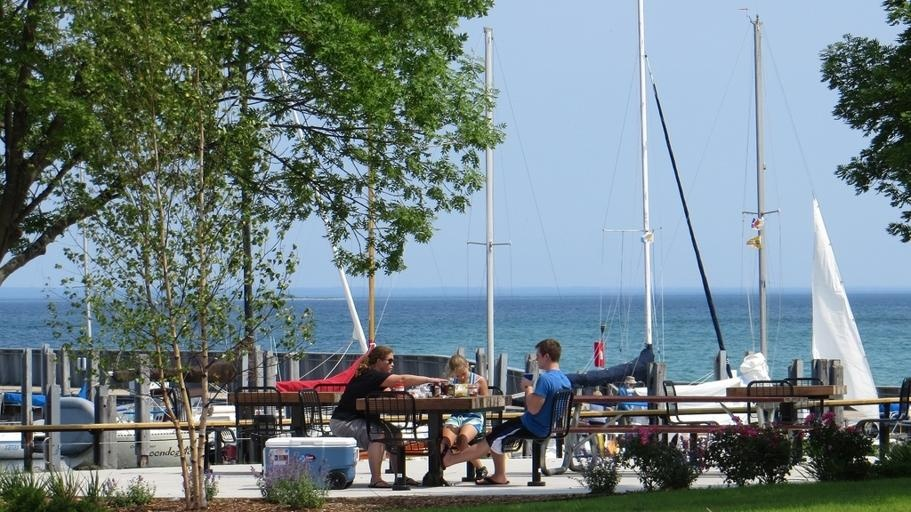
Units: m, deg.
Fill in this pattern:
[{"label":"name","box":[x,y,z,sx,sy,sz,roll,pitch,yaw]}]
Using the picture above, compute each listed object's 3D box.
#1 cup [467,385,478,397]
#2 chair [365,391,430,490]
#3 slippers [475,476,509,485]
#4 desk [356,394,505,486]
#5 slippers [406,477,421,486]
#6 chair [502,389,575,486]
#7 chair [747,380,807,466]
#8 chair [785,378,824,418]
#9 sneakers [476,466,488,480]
[{"label":"cup","box":[0.410,3.014,41.490,0.220,0.216,0.210,1,-3,0]},{"label":"chair","box":[-1.353,4.059,40.815,1.261,2.128,0.975,-5,-10,8]},{"label":"slippers","box":[0.830,4.966,40.998,0.645,0.137,0.241,2,-4,-2]},{"label":"desk","box":[-0.442,3.989,41.477,2.573,1.718,2.314,-1,-9,6]},{"label":"slippers","box":[-0.942,4.969,40.878,0.136,0.143,0.401,2,-5,-43]},{"label":"chair","box":[1.573,3.927,41.335,2.211,2.738,1.586,0,-6,8]},{"label":"chair","box":[7.436,4.157,43.506,1.690,1.807,2.566,-2,-2,19]},{"label":"chair","box":[8.411,3.426,44.310,1.273,1.154,0.783,0,4,13]},{"label":"sneakers","box":[0.589,4.829,41.415,0.189,0.402,0.141,1,-25,-4]}]
